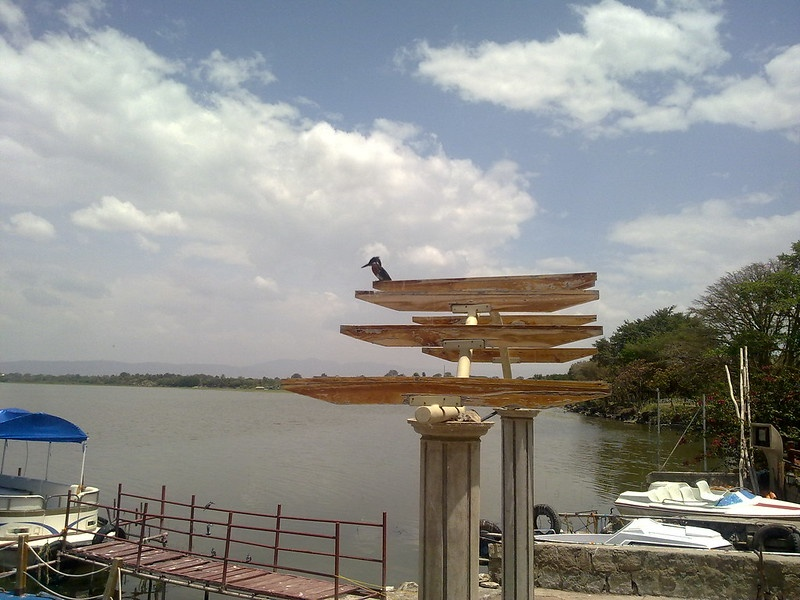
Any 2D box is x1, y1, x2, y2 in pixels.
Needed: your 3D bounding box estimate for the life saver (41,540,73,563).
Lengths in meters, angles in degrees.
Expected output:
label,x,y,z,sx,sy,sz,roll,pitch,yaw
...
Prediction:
label,x,y,z,sx,sy,sz,roll,pitch,yaw
life saver,-11.450,8.351,19.842,1.037,0.302,0.926,14,-54,-46
